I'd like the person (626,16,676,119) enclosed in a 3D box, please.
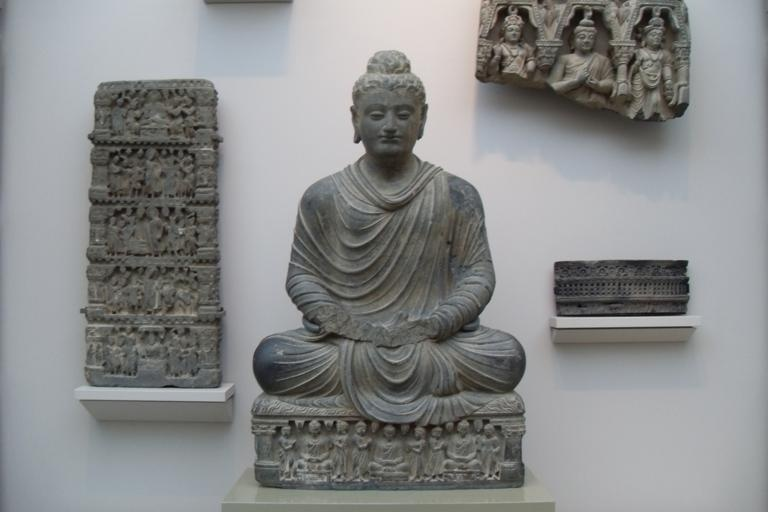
[{"bbox_3d":[1.998,-1.408,11.364,0.346,0.799,0.129,3,-2,5],"label":"person"}]

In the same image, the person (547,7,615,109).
[{"bbox_3d":[1.473,-1.459,11.380,0.499,0.708,0.163,2,-2,6],"label":"person"}]
